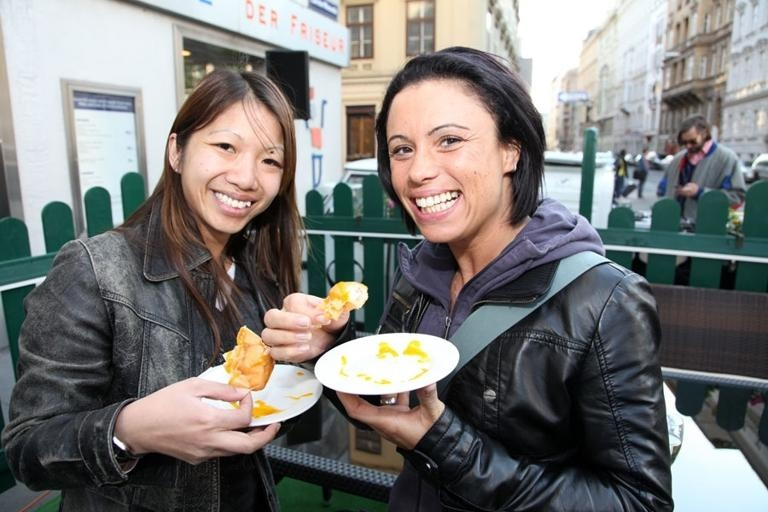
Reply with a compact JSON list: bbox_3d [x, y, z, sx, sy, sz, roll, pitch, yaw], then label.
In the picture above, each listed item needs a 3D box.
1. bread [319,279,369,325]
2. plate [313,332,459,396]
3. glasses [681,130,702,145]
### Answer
[{"bbox_3d":[-0.233,0.259,3.099,0.300,0.140,0.220,-31,31,-6],"label":"bread"},{"bbox_3d":[0.014,0.537,2.756,0.727,0.160,0.525,1,12,11],"label":"plate"},{"bbox_3d":[3.834,-1.471,6.659,0.169,0.057,0.183,-1,50,52],"label":"glasses"}]
